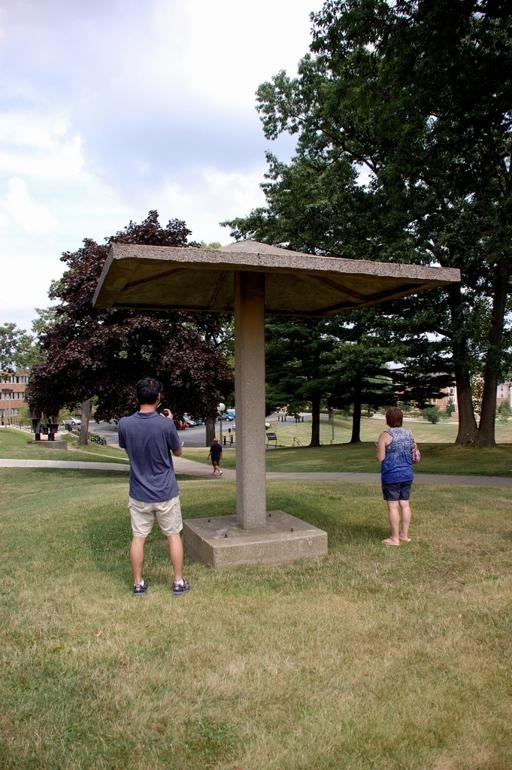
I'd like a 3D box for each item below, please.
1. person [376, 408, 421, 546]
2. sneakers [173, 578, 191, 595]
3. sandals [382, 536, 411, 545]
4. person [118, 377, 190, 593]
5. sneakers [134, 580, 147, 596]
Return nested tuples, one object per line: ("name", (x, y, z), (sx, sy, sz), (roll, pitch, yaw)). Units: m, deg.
("person", (1.584, 0.958, 7.109), (0.433, 1.414, 1.220), (-1, -1, 13))
("sneakers", (-0.601, 1.617, 5.183), (0.133, 0.100, 0.193), (0, -1, -6))
("sandals", (1.455, 1.643, 6.721), (0.302, 0.128, 0.104), (-1, -8, 24))
("person", (-0.831, 0.808, 5.209), (0.535, 1.721, 0.263), (0, -1, -12))
("sneakers", (-0.922, 1.630, 5.131), (0.054, 0.064, 0.144), (-1, -2, 1))
